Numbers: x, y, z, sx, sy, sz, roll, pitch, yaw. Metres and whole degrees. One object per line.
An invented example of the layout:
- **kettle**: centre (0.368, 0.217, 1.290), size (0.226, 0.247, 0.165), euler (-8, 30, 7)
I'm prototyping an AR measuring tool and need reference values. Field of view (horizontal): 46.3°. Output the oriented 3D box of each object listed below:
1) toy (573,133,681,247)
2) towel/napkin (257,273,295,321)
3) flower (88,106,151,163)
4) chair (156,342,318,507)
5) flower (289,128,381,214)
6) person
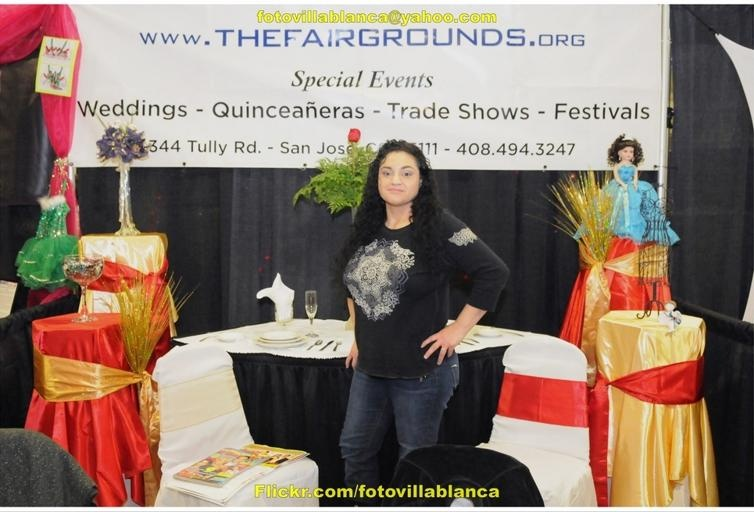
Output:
- **toy**: centre (1.934, -0.461, 7.070), size (0.989, 1.167, 0.747), euler (-2, 4, -1)
- **towel/napkin**: centre (-0.785, 0.313, 6.851), size (0.313, 0.370, 0.167), euler (5, 10, 29)
- **flower**: centre (-1.981, -0.915, 6.848), size (0.431, 0.392, 0.209), euler (1, 4, -9)
- **chair**: centre (-1.075, 1.068, 5.790), size (1.005, 1.298, 0.988), euler (-9, -6, 43)
- **flower**: centre (-0.295, -0.642, 6.768), size (0.588, 0.732, 0.699), euler (2, 11, 12)
- **person**: centre (0.231, 0.376, 5.582), size (0.969, 2.214, 0.358), euler (2, 4, 6)
